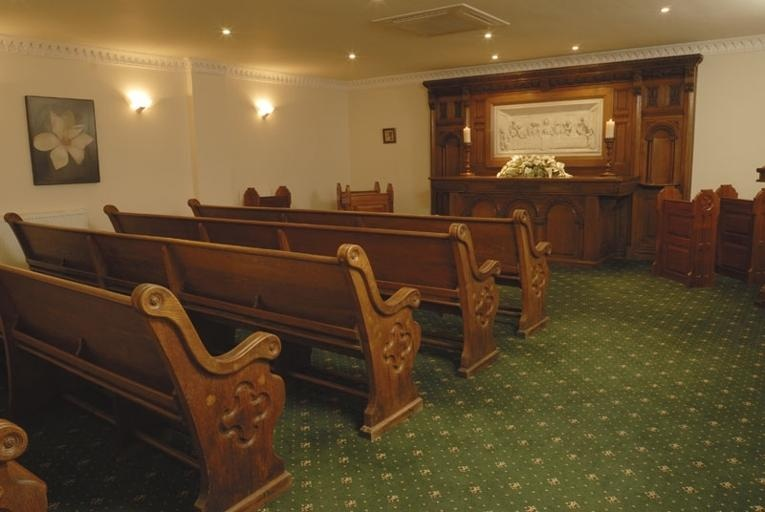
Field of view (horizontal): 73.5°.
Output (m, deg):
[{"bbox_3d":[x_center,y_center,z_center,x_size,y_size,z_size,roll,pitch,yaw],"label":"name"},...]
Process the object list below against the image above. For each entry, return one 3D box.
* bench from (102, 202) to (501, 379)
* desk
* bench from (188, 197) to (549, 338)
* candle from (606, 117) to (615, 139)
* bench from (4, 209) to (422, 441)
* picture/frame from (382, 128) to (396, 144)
[{"bbox_3d":[-0.931,-0.002,5.397,4.238,1.511,1.314,5,9,32],"label":"bench"},{"bbox_3d":[2.487,-0.657,8.511,3.114,1.217,1.034,8,15,44],"label":"desk"},{"bbox_3d":[-0.136,-0.174,6.224,4.525,1.685,1.394,4,9,30],"label":"bench"},{"bbox_3d":[3.391,-1.862,7.636,0.099,0.266,0.363,5,17,27],"label":"candle"},{"bbox_3d":[-1.684,0.200,4.836,4.395,1.560,1.277,8,11,36],"label":"bench"},{"bbox_3d":[0.140,-2.517,10.753,0.302,0.293,0.042,6,8,33],"label":"picture/frame"}]
